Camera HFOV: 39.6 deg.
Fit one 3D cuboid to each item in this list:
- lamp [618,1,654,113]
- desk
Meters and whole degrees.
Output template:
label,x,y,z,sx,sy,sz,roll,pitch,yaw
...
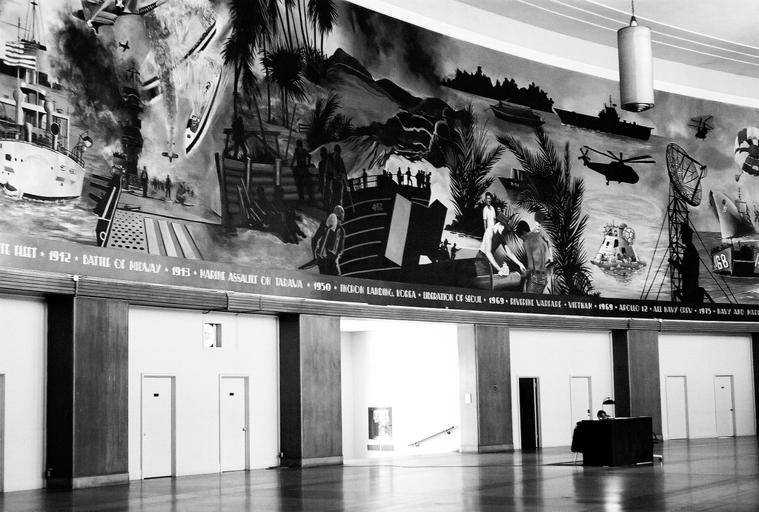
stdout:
label,x,y,z,sx,sy,sz,roll,pitch,yaw
lamp,6.027,-4.498,24.851,0.758,2.120,0.485,-4,-9,10
desk,6.163,4.787,27.290,2.235,1.200,1.414,0,-3,-23
